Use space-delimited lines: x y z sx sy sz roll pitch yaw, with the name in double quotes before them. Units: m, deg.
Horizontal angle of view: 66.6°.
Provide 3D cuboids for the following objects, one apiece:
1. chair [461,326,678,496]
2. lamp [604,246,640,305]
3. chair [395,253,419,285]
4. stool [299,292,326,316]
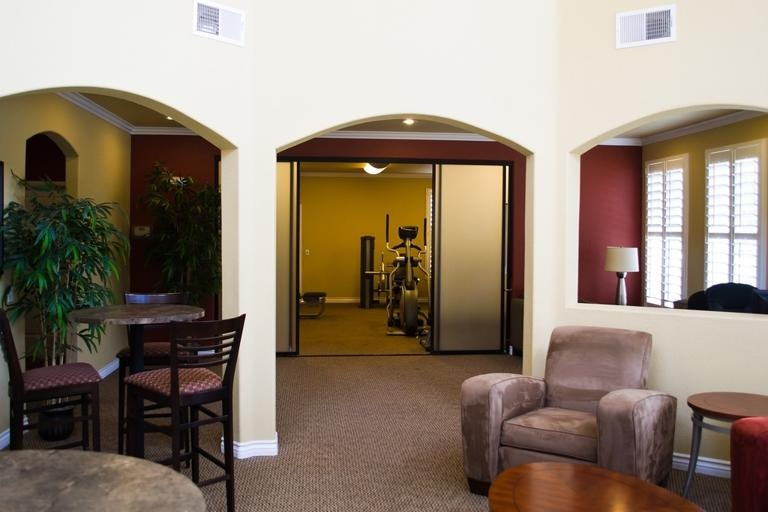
"chair" 1.493 1.102 4.491 1.379 1.203 1.326 -4 -10 36
"lamp" 2.897 0.271 7.108 0.361 0.708 0.758 3 7 22
"chair" 0.349 0.223 9.735 0.444 0.494 0.488 0 -3 2
"stool" -1.296 0.873 10.902 0.574 0.585 0.535 0 -1 -3
